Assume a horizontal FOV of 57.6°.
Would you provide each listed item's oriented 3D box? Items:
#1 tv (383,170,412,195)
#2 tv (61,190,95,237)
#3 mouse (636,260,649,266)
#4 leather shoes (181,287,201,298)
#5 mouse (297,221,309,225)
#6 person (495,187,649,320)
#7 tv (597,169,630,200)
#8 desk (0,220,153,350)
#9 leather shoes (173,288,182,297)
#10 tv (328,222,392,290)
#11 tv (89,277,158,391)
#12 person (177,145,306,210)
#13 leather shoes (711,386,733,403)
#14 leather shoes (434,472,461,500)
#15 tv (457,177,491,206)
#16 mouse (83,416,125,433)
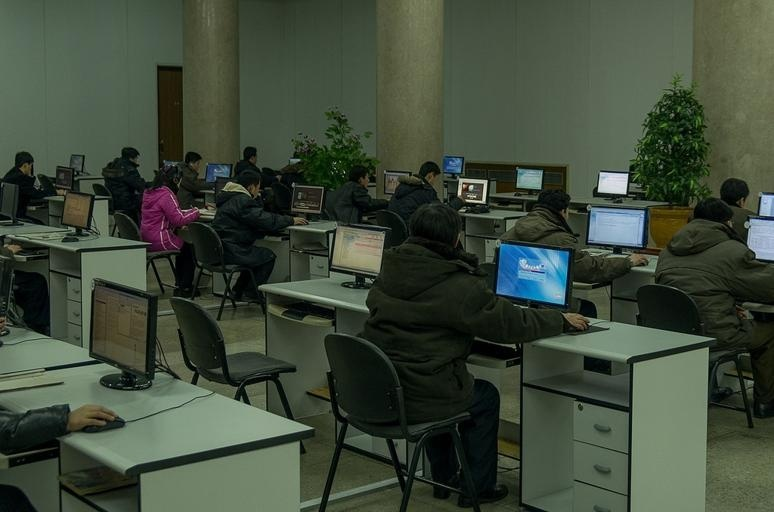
[{"bbox_3d":[0.100,-1.005,9.492,0.364,0.322,0.087,8,-1,42],"label":"tv"},{"bbox_3d":[-2.899,-0.383,6.619,0.571,0.536,0.209,3,4,42],"label":"tv"},{"bbox_3d":[2.024,0.053,5.649,0.080,0.023,0.055,3,17,-41],"label":"mouse"},{"bbox_3d":[-2.245,0.415,8.022,0.207,0.069,0.141,4,14,17],"label":"leather shoes"},{"bbox_3d":[-0.917,-0.354,7.684,0.133,0.036,0.082,8,-7,-16],"label":"mouse"},{"bbox_3d":[1.438,-0.067,5.404,1.406,0.501,1.000,15,13,41],"label":"person"},{"bbox_3d":[3.503,-1.081,10.919,0.483,0.346,0.149,8,17,40],"label":"tv"},{"bbox_3d":[-2.325,0.214,5.172,0.407,0.630,1.025,-4,10,-39],"label":"desk"},{"bbox_3d":[-2.401,0.422,8.071,0.117,0.118,0.139,-1,4,-22],"label":"leather shoes"},{"bbox_3d":[-0.187,0.014,4.755,0.468,0.411,0.253,7,5,41],"label":"tv"},{"bbox_3d":[-1.233,0.388,3.280,0.235,0.412,0.469,-9,13,-43],"label":"tv"},{"bbox_3d":[-2.223,-1.148,10.338,1.606,0.982,0.743,13,18,42],"label":"person"},{"bbox_3d":[2.435,1.014,5.144,0.140,0.069,0.197,-2,3,9],"label":"leather shoes"},{"bbox_3d":[0.358,1.298,3.994,0.076,0.093,0.228,5,12,29],"label":"leather shoes"},{"bbox_3d":[1.224,-0.867,9.832,0.600,0.506,0.334,6,6,42],"label":"tv"},{"bbox_3d":[-1.151,0.692,2.894,0.119,0.038,0.064,3,-4,-25],"label":"mouse"}]
